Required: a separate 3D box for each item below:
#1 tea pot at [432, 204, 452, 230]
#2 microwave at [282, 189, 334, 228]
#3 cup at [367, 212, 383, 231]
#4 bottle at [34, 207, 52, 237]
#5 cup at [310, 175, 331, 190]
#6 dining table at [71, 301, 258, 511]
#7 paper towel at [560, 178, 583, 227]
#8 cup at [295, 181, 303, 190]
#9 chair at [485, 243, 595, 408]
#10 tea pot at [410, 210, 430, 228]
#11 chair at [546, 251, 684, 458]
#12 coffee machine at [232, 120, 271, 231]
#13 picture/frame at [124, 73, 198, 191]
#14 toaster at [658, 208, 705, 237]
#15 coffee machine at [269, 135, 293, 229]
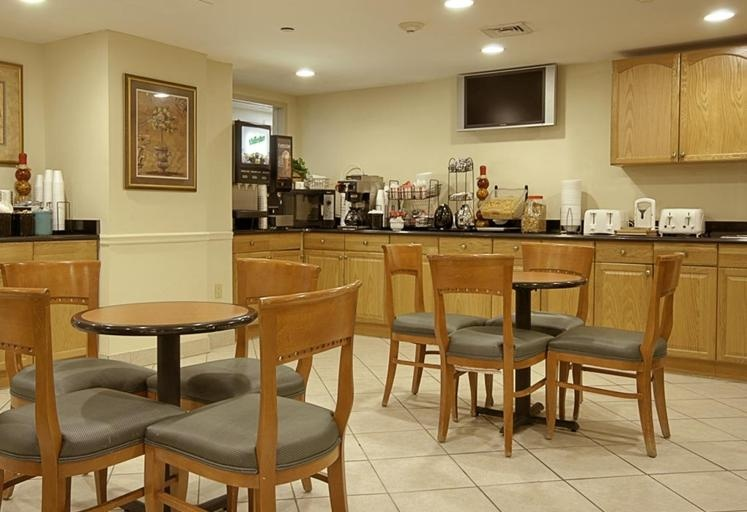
[{"bbox_3d":[0.768,-0.438,6.232,0.212,0.274,0.217,0,8,0],"label":"tea pot"},{"bbox_3d":[-0.797,-0.575,6.725,0.699,0.492,0.421,-1,1,-29],"label":"microwave"},{"bbox_3d":[0.045,-0.403,6.405,0.190,0.243,0.194,0,6,0],"label":"cup"},{"bbox_3d":[-2.824,-0.296,4.765,0.051,0.205,0.138,6,10,39],"label":"bottle"},{"bbox_3d":[-0.688,-0.911,7.011,0.189,0.091,0.254,2,3,13],"label":"cup"},{"bbox_3d":[-0.924,0.511,2.828,0.983,1.009,0.963,1,0,38],"label":"dining table"},{"bbox_3d":[2.016,-0.514,5.695,0.225,0.497,0.227,-2,3,2],"label":"paper towel"},{"bbox_3d":[-0.898,-0.858,6.770,0.124,0.104,0.289,-1,8,-8],"label":"cup"},{"bbox_3d":[1.050,0.287,4.211,0.657,1.160,0.758,6,11,35],"label":"chair"},{"bbox_3d":[0.499,-0.416,6.438,0.228,0.221,0.173,-3,6,-31],"label":"tea pot"},{"bbox_3d":[1.525,0.569,3.570,0.718,1.203,0.637,4,9,29],"label":"chair"},{"bbox_3d":[-1.352,-0.885,6.177,0.499,1.140,0.417,-4,9,-29],"label":"coffee machine"},{"bbox_3d":[-1.949,-1.106,5.119,0.083,0.992,0.745,7,10,40],"label":"picture/frame"},{"bbox_3d":[2.780,-0.309,5.059,0.311,0.244,0.299,-1,-4,36],"label":"toaster"},{"bbox_3d":[-1.091,-0.854,6.470,0.265,1.037,0.312,-2,8,-12],"label":"coffee machine"}]
